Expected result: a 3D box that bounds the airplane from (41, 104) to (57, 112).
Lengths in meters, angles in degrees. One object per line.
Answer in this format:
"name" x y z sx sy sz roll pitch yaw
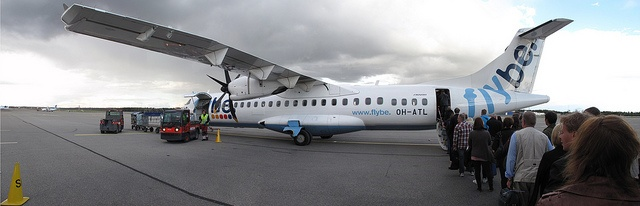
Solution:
"airplane" -96.153 2.210 96.936 4.102 1.007 3.746 -2 5 -39
